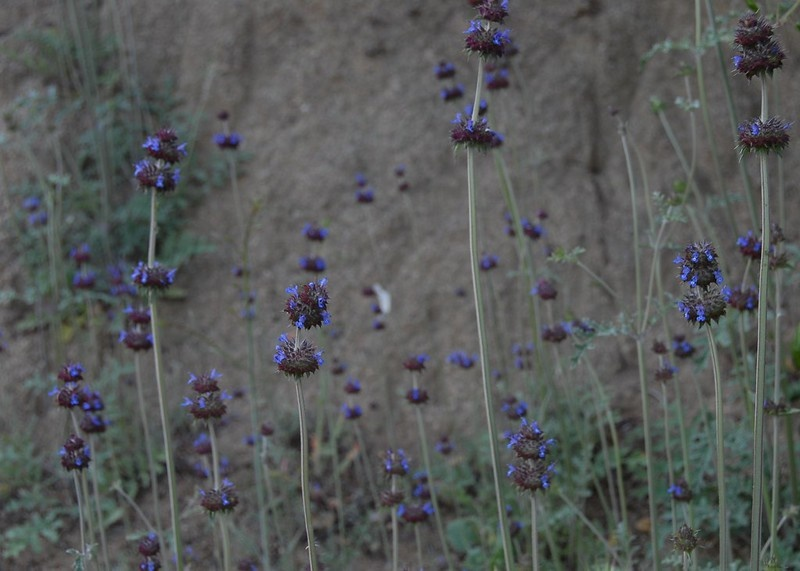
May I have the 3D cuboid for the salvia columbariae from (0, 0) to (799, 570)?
[{"bbox_3d":[0.022,-0.225,8.253,3.562,2.530,2.636,6,36,19],"label":"salvia columbariae"}]
